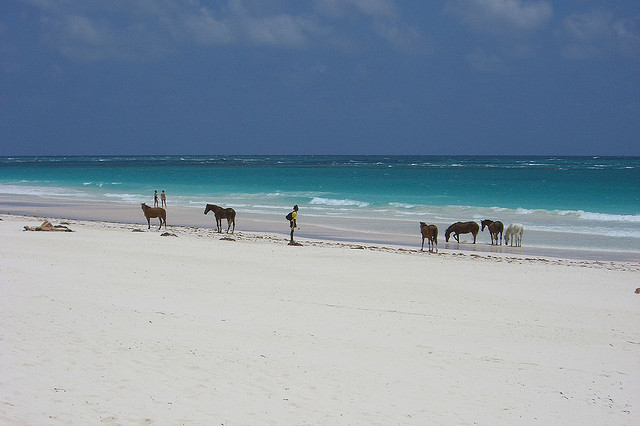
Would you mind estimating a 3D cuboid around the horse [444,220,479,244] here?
[{"bbox_3d":[7.874,0.988,30.045,1.807,1.250,1.321,4,12,0],"label":"horse"}]

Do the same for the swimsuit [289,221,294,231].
[{"bbox_3d":[-1.262,0.500,24.800,0.105,0.337,0.266,8,13,15],"label":"swimsuit"}]

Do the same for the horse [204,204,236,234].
[{"bbox_3d":[-5.677,0.240,30.963,2.460,1.548,0.629,2,3,35],"label":"horse"}]

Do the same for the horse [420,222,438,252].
[{"bbox_3d":[5.480,1.124,27.059,0.605,1.445,2.265,2,-3,-8],"label":"horse"}]

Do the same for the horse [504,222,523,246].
[{"bbox_3d":[10.675,1.100,29.682,0.851,1.310,1.474,8,13,17],"label":"horse"}]

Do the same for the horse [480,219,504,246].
[{"bbox_3d":[9.908,1.030,30.687,1.014,1.391,2.218,5,12,5],"label":"horse"}]
